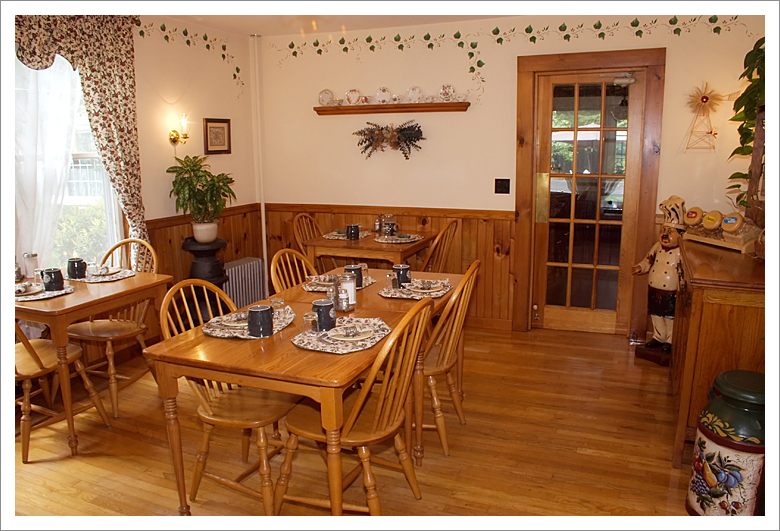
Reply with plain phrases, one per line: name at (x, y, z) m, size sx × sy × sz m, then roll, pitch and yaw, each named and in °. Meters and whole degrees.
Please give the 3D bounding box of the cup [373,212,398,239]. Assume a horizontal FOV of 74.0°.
cup at (-0.071, -0.406, 5.275) m, size 0.318 × 0.310 × 0.182 m, roll -8°, pitch 16°, yaw -20°

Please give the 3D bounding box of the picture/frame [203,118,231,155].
picture/frame at (-1.811, -1.345, 5.331) m, size 0.030 × 0.397 × 0.407 m, roll 5°, pitch 9°, yaw 27°

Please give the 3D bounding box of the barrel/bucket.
barrel/bucket at (1.751, 0.945, 2.664) m, size 0.335 × 0.754 × 0.302 m, roll -10°, pitch 15°, yaw -42°

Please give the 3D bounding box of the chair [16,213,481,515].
chair at (-0.419, 0.705, 2.949) m, size 1.280 × 1.179 × 1.327 m, roll 6°, pitch 12°, yaw 29°

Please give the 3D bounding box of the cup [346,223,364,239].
cup at (-0.361, -0.340, 5.080) m, size 0.150 × 0.137 × 0.146 m, roll 0°, pitch 6°, yaw 0°

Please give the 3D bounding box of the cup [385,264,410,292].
cup at (0.074, 0.065, 3.517) m, size 0.184 × 0.169 × 0.106 m, roll -3°, pitch 10°, yaw -22°

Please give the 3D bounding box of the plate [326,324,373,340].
plate at (-0.210, 0.343, 2.647) m, size 0.120 × 0.021 × 0.119 m, roll 0°, pitch 15°, yaw 16°

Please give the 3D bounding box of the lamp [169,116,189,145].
lamp at (-2.018, -1.284, 4.935) m, size 0.070 × 0.285 × 0.253 m, roll 3°, pitch 11°, yaw 15°

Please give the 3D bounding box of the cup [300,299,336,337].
cup at (-0.399, 0.257, 2.718) m, size 0.184 × 0.169 × 0.108 m, roll -2°, pitch 12°, yaw -17°

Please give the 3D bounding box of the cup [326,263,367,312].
cup at (-0.286, 0.128, 3.243) m, size 0.131 × 0.149 × 0.424 m, roll 1°, pitch 7°, yaw 5°

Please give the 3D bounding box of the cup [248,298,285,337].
cup at (-0.663, 0.283, 2.780) m, size 0.132 × 0.155 × 0.178 m, roll 0°, pitch 3°, yaw -1°
